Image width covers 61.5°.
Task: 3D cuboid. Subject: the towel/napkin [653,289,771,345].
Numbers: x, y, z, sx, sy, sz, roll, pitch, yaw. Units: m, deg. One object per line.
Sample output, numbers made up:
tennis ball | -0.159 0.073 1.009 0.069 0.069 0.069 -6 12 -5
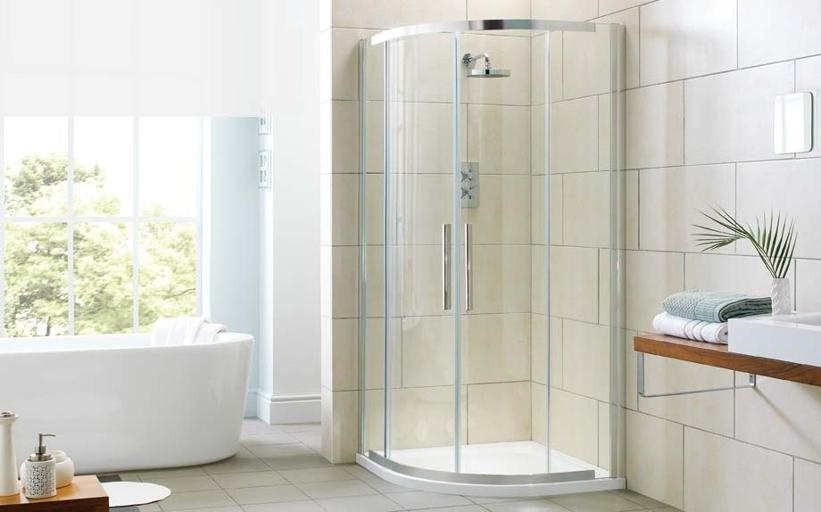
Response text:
towel/napkin | 1.506 0.259 3.381 0.314 0.133 0.317 -3 1 -29

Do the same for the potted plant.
potted plant | 1.714 0.011 3.447 0.518 0.552 0.528 1 -15 24
